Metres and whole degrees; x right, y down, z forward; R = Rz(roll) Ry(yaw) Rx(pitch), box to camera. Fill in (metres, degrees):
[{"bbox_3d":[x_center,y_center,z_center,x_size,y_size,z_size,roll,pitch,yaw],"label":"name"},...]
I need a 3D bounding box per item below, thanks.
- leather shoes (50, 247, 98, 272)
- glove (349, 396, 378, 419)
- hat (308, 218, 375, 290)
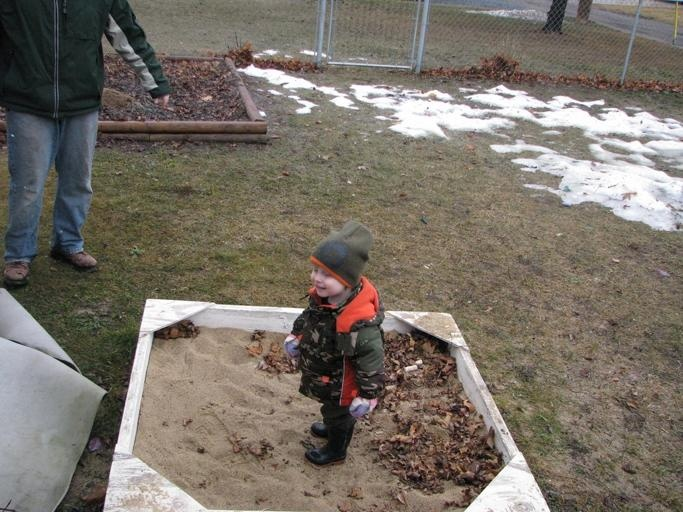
[{"bbox_3d":[-2.263,0.032,4.934,0.438,0.162,0.157,12,35,-6],"label":"leather shoes"},{"bbox_3d":[0.167,0.916,3.491,0.227,0.078,0.153,-3,8,-26],"label":"glove"},{"bbox_3d":[0.054,-0.045,3.537,0.335,0.339,0.442,40,18,1],"label":"hat"}]
